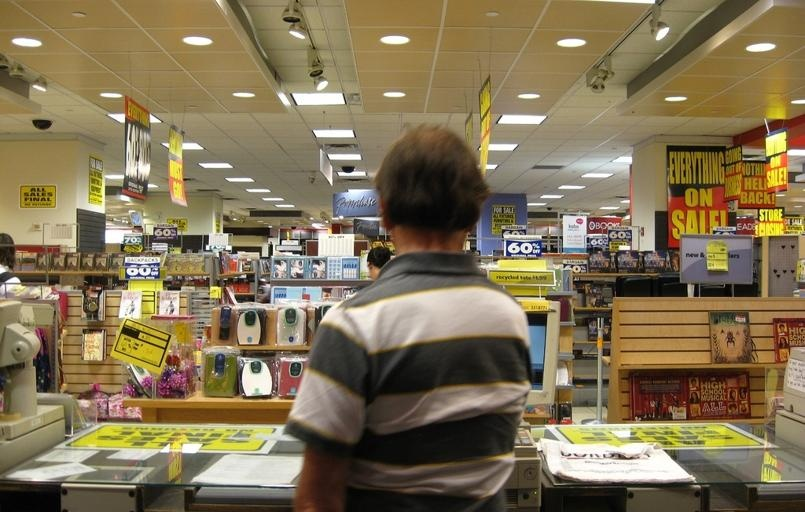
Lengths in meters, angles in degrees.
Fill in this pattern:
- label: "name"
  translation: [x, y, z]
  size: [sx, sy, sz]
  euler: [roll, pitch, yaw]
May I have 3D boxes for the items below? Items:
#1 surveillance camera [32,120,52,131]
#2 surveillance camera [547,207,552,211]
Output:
- label: "surveillance camera"
  translation: [-6.497, -2.363, 11.948]
  size: [0.312, 0.123, 0.292]
  euler: [-1, -8, -3]
- label: "surveillance camera"
  translation: [5.791, -1.822, 26.148]
  size: [0.117, 0.077, 0.114]
  euler: [0, -11, 2]
